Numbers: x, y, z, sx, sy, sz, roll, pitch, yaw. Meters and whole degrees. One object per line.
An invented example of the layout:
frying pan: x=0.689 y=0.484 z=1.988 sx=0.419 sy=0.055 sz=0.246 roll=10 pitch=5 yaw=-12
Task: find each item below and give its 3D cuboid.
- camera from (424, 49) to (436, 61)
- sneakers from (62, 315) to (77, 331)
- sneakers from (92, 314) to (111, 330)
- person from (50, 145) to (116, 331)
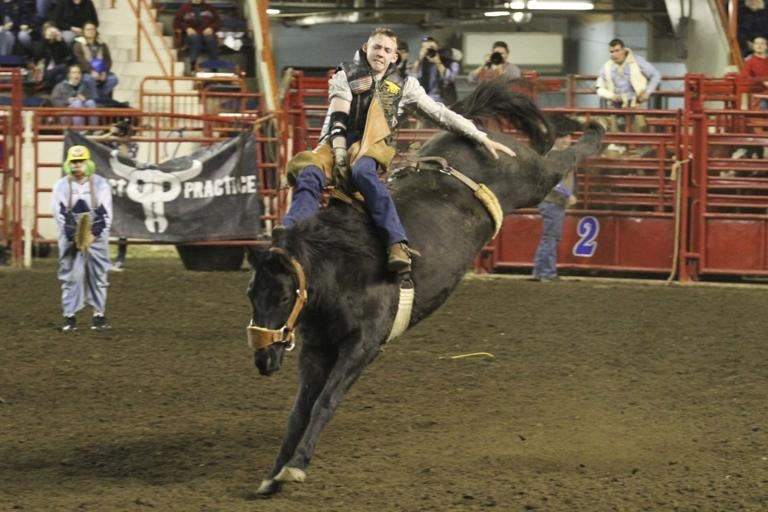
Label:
camera: x=0.731 y=-3.312 z=19.202 sx=0.305 sy=0.195 sz=0.076 roll=-1 pitch=1 yaw=3
sneakers: x=-3.810 y=0.816 z=14.563 sx=0.139 sy=0.184 sz=0.251 roll=-1 pitch=8 yaw=-38
sneakers: x=-3.447 y=0.776 z=14.649 sx=0.207 sy=0.181 sz=0.318 roll=0 pitch=7 yaw=-14
person: x=-3.689 y=-0.256 z=14.703 sx=0.690 sy=2.253 sz=0.716 roll=0 pitch=9 yaw=-14
